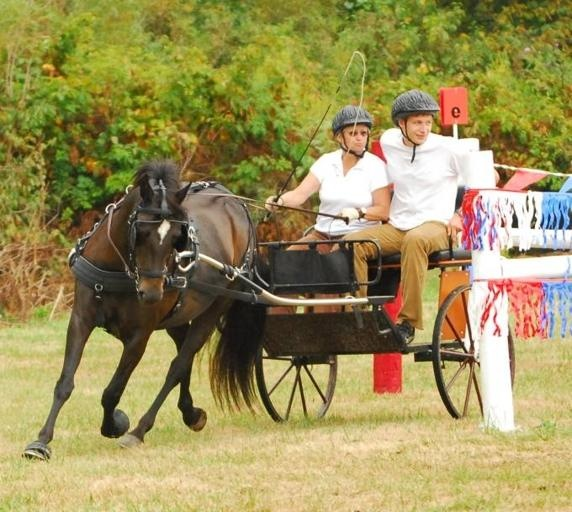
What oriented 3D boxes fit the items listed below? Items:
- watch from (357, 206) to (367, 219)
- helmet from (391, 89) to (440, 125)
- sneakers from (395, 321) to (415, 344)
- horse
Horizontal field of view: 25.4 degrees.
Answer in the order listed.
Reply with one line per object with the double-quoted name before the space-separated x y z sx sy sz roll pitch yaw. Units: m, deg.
"watch" 0.593 -0.342 9.825 0.054 0.091 0.080 -3 -15 -35
"helmet" 1.007 -1.183 9.895 0.380 0.275 0.247 0 7 14
"sneakers" 0.908 0.599 9.611 0.086 0.111 0.244 -5 -30 14
"horse" -0.913 0.372 9.473 0.984 2.198 2.155 1 7 22
